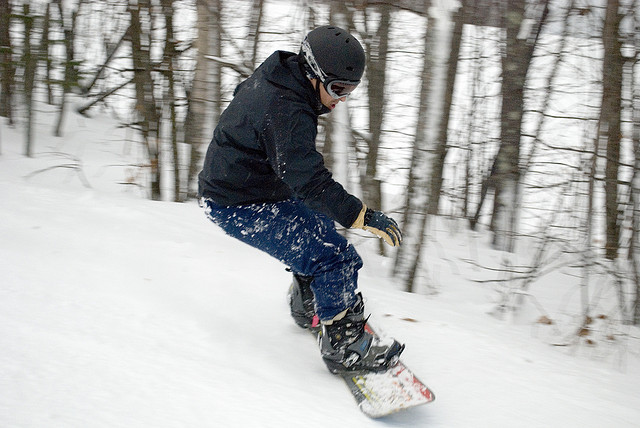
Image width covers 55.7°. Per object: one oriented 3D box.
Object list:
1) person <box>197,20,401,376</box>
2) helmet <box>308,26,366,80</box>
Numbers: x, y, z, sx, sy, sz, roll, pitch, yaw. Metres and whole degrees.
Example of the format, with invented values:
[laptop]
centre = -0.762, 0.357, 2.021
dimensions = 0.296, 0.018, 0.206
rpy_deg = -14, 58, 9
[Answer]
[person]
centre = -0.165, -0.113, 5.025
dimensions = 1.631, 2.839, 0.709
rpy_deg = 6, 12, -8
[helmet]
centre = 0.111, -1.306, 4.930
dimensions = 0.532, 0.290, 0.402
rpy_deg = 28, 29, 32
